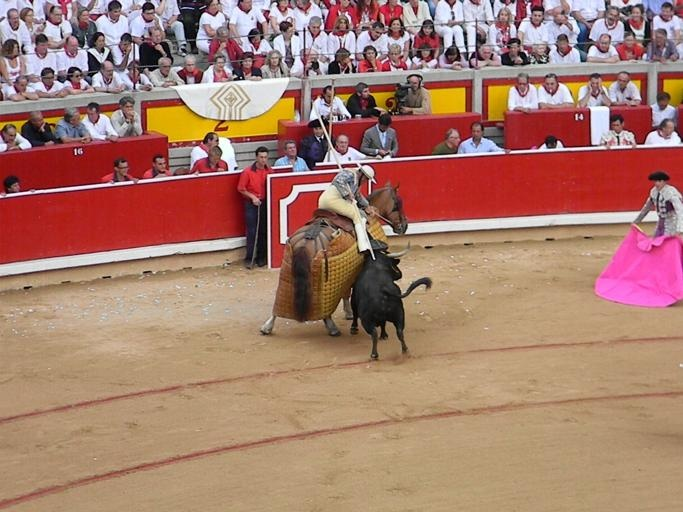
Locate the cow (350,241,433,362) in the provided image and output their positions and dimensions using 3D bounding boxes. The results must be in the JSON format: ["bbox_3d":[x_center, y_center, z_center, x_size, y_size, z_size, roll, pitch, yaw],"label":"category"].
[{"bbox_3d":[0.561,0.552,12.578,0.849,1.157,2.255,4,10,-8],"label":"cow"}]

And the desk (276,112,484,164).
[{"bbox_3d":[0.759,-2.145,17.695,3.837,0.791,0.445,-5,15,-24],"label":"desk"}]

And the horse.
[{"bbox_3d":[-0.020,0.011,13.548,0.944,1.636,2.667,15,22,23],"label":"horse"}]

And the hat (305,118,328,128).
[{"bbox_3d":[-0.457,-2.220,16.648,0.233,0.073,0.217,-4,3,17],"label":"hat"}]

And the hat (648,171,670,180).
[{"bbox_3d":[4.513,-1.141,14.219,0.356,0.107,0.340,0,6,6],"label":"hat"}]

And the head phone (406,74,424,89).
[{"bbox_3d":[1.319,-3.167,17.840,0.245,0.227,0.262,2,16,8],"label":"head phone"}]
